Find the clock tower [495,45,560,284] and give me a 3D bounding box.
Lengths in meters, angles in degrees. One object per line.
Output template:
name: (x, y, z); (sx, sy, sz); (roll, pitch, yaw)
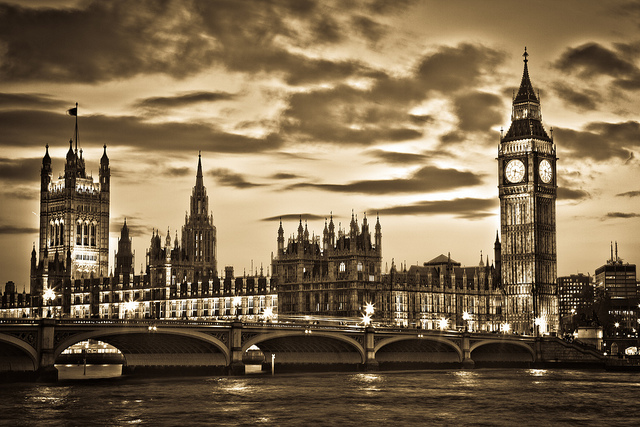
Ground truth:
clock tower: (43.406, -9.559, 284.382); (11.018, 48.411, 5.900); (-2, -9, 9)
